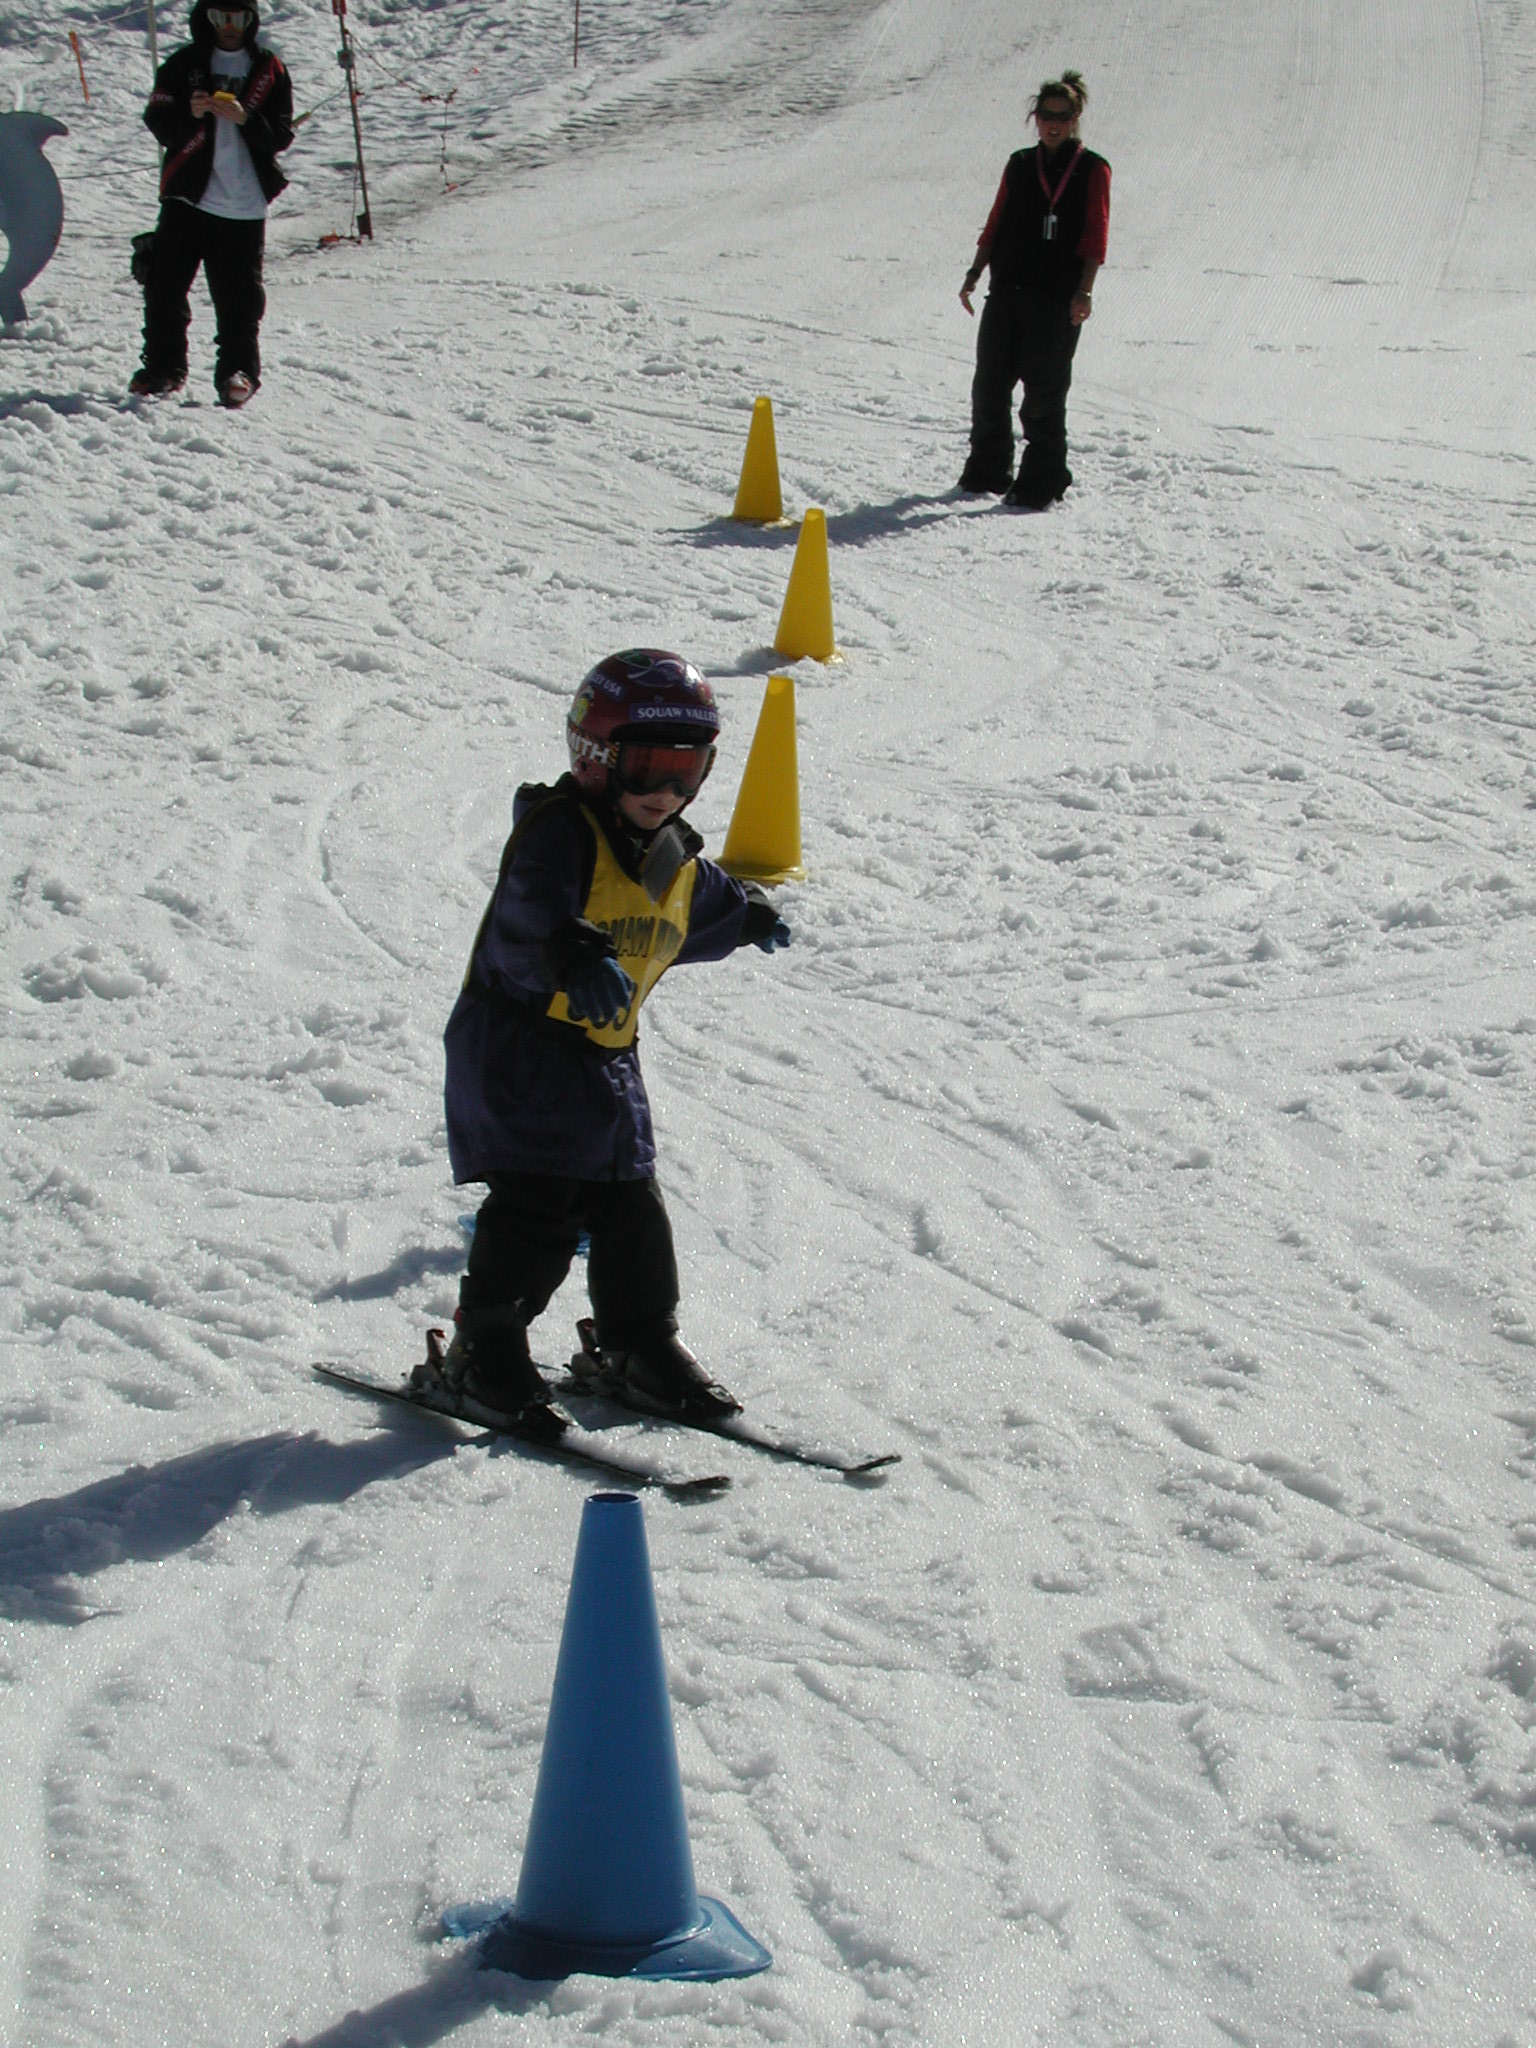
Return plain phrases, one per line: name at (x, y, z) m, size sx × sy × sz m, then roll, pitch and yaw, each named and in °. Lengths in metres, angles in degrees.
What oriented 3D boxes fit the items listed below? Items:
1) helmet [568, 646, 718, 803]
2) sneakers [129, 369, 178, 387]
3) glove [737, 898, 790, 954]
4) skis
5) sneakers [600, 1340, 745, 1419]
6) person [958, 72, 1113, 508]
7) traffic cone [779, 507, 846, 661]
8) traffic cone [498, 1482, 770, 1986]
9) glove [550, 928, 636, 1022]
helmet at (-0.192, -0.442, 3.448) m, size 0.212 × 0.221 × 0.184 m, roll -5°, pitch 23°, yaw -17°
sneakers at (-2.526, -2.657, 9.525) m, size 0.067 × 0.084 × 0.276 m, roll 10°, pitch 14°, yaw 14°
glove at (-0.004, -0.160, 3.840) m, size 0.096 × 0.045 × 0.070 m, roll 42°, pitch 6°, yaw -7°
skis at (-0.280, 0.638, 3.448) m, size 0.867 × 0.036 × 0.274 m, roll 8°, pitch 10°, yaw 25°
sneakers at (-0.153, 0.558, 3.652) m, size 0.252 × 0.097 × 0.087 m, roll 14°, pitch 26°, yaw 20°
person at (1.274, -3.522, 11.181) m, size 0.665 × 2.015 × 1.158 m, roll 4°, pitch 23°, yaw 4°
traffic cone at (0.150, -1.693, 8.859) m, size 0.236 × 0.564 × 0.457 m, roll 2°, pitch 22°, yaw 1°
traffic cone at (-0.124, 0.715, 2.220) m, size 0.236 × 0.469 × 0.208 m, roll 14°, pitch 26°, yaw 27°
glove at (-0.253, -0.059, 3.196) m, size 0.044 × 0.123 × 0.102 m, roll -33°, pitch -27°, yaw 31°
